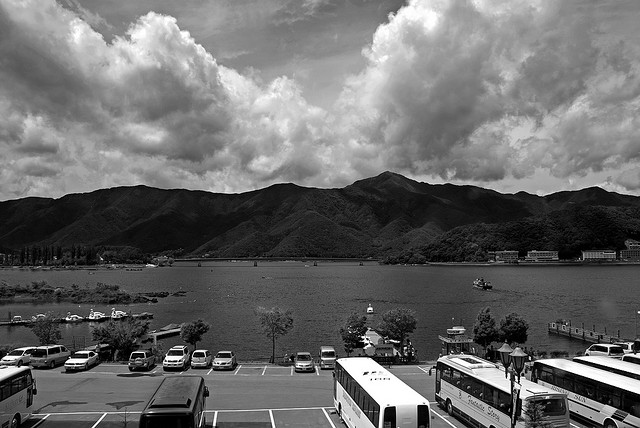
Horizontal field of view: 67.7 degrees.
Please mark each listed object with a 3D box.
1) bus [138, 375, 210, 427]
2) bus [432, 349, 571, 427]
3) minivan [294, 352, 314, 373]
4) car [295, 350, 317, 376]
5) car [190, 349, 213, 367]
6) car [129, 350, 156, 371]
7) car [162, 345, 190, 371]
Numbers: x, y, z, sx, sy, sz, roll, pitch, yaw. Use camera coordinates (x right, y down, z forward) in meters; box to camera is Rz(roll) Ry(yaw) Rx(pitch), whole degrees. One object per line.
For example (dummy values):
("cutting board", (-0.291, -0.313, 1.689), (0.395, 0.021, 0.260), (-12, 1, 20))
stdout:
("bus", (-10.086, 13.329, 33.347), (3.330, 2.963, 4.104), (-3, -9, 1))
("bus", (14.846, 15.400, 41.412), (5.027, 4.709, 14.803), (3, -3, -19))
("minivan", (-2.024, 17.836, 57.510), (2.235, 2.011, 2.470), (-2, -9, -4))
("car", (-1.829, 17.878, 57.063), (2.435, 2.138, 2.685), (-2, -9, -4))
("car", (-14.445, 17.430, 57.652), (2.173, 1.922, 2.108), (-1, -9, -10))
("car", (-20.575, 16.973, 55.868), (1.565, 1.552, 3.091), (1, -1, -2))
("car", (-16.678, 16.783, 55.666), (1.875, 2.357, 2.514), (-9, -11, 32))
